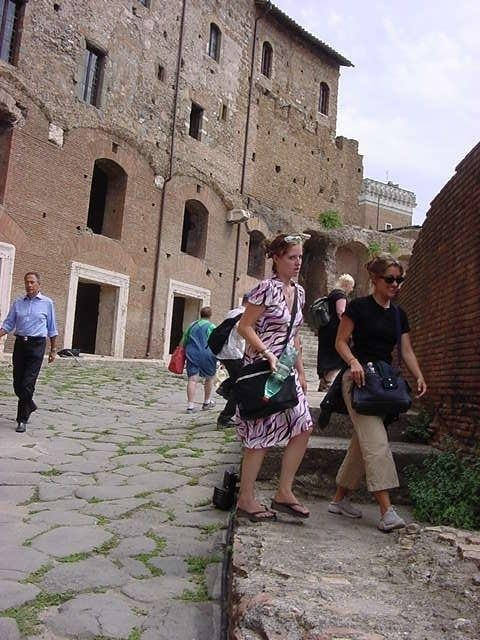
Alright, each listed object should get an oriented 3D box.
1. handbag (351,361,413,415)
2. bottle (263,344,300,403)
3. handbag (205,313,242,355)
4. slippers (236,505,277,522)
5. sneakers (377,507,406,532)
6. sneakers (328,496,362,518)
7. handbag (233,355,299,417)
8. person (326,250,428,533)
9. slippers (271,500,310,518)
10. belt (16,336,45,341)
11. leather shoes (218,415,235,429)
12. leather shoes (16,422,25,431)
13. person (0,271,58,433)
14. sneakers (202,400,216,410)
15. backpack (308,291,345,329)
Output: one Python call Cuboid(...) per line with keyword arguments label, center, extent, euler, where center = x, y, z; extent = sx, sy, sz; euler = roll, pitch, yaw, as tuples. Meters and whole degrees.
Cuboid(label="handbag", center=(0.788, 0.394, 2.895), extent=(0.335, 0.319, 0.183), euler=(2, -14, -14))
Cuboid(label="bottle", center=(0.214, 0.272, 2.671), extent=(0.087, 0.299, 0.204), euler=(3, -3, 34))
Cuboid(label="handbag", center=(-0.202, 0.175, 5.668), extent=(0.267, 0.407, 0.411), euler=(34, 41, 17))
Cuboid(label="slippers", center=(0.086, 1.052, 2.724), extent=(0.222, 0.048, 0.119), euler=(5, -3, 1))
Cuboid(label="sneakers", center=(0.801, 1.094, 2.731), extent=(0.083, 0.097, 0.167), euler=(2, -14, -19))
Cuboid(label="sneakers", center=(0.658, 1.189, 3.189), extent=(0.199, 0.094, 0.085), euler=(3, 0, 32))
Cuboid(label="handbag", center=(0.139, 0.357, 2.655), extent=(0.296, 0.281, 0.153), euler=(-13, 5, -5))
Cuboid(label="person", center=(0.779, 0.411, 3.060), extent=(0.619, 1.648, 0.651), euler=(4, -3, 21))
Cuboid(label="slippers", center=(0.267, 1.029, 2.775), extent=(0.227, 0.083, 0.083), euler=(16, -4, 8))
Cuboid(label="belt", center=(-2.287, 0.199, 5.539), extent=(0.276, 0.045, 0.141), euler=(6, -3, -23))
Cuboid(label="leather shoes", center=(-0.185, 1.278, 6.273), extent=(0.264, 0.185, 0.094), euler=(-6, 3, -1))
Cuboid(label="leather shoes", center=(-2.247, 1.115, 5.171), extent=(0.054, 0.096, 0.142), euler=(1, -19, -6))
Cuboid(label="person", center=(-2.382, 0.285, 5.571), extent=(0.579, 1.547, 0.951), euler=(5, -3, -14))
Cuboid(label="sneakers", center=(-0.498, 1.315, 7.863), extent=(0.090, 0.115, 0.252), euler=(-1, 15, 27))
Cuboid(label="backpack", center=(0.798, -0.103, 4.734), extent=(0.357, 0.352, 0.254), euler=(1, -7, 10))
